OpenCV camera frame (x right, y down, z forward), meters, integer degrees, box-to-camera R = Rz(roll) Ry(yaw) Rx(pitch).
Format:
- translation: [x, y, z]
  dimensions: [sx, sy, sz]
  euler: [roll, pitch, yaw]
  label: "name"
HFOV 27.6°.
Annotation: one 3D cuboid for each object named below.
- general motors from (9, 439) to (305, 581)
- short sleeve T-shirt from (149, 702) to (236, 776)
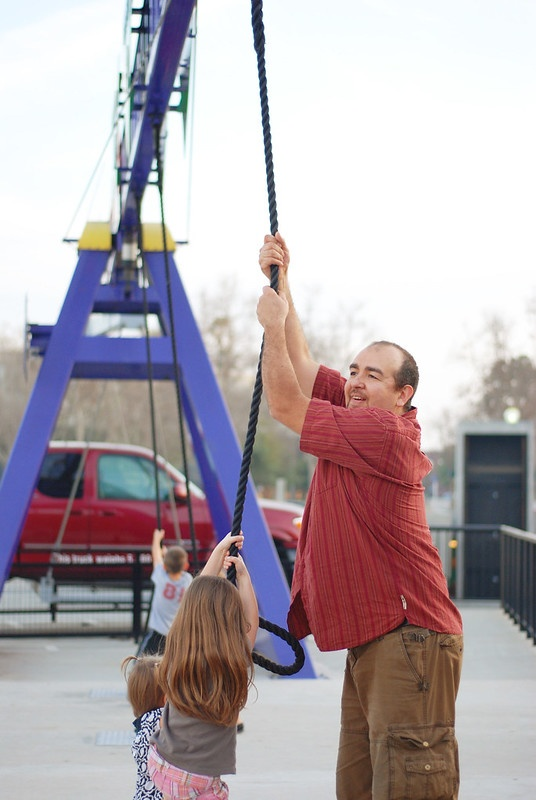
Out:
- translation: [-0.877, 0.867, 8.985]
  dimensions: [2.200, 1.084, 1.107]
  euler: [0, -7, -8]
  label: "general motors"
- translation: [-0.214, 1.002, 3.225]
  dimensions: [0.161, 0.227, 0.124]
  euler: [10, -35, -3]
  label: "short sleeve T-shirt"
